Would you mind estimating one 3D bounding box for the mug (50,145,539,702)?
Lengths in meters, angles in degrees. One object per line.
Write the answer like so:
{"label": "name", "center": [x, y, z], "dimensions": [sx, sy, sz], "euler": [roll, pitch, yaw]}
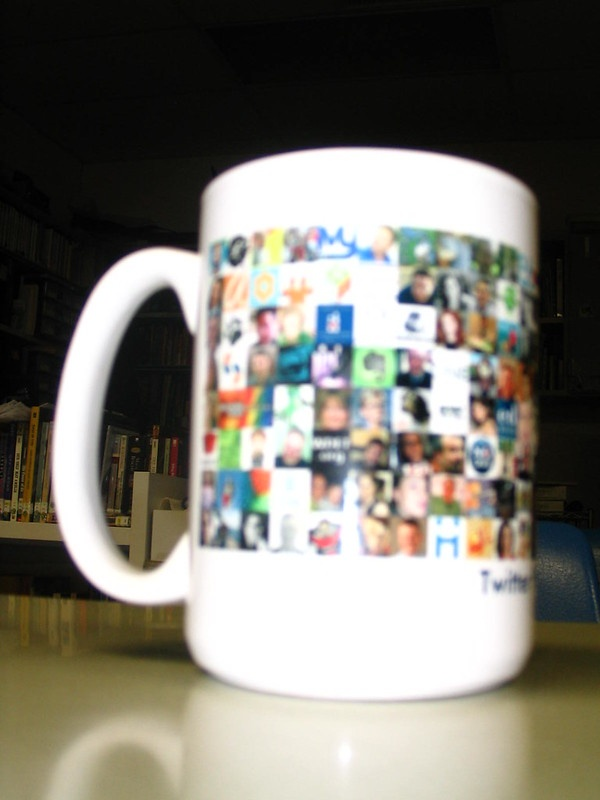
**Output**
{"label": "mug", "center": [-0.010, 0.019, 0.243], "dimensions": [0.163, 0.172, 0.111], "euler": [-2, -12, 3]}
